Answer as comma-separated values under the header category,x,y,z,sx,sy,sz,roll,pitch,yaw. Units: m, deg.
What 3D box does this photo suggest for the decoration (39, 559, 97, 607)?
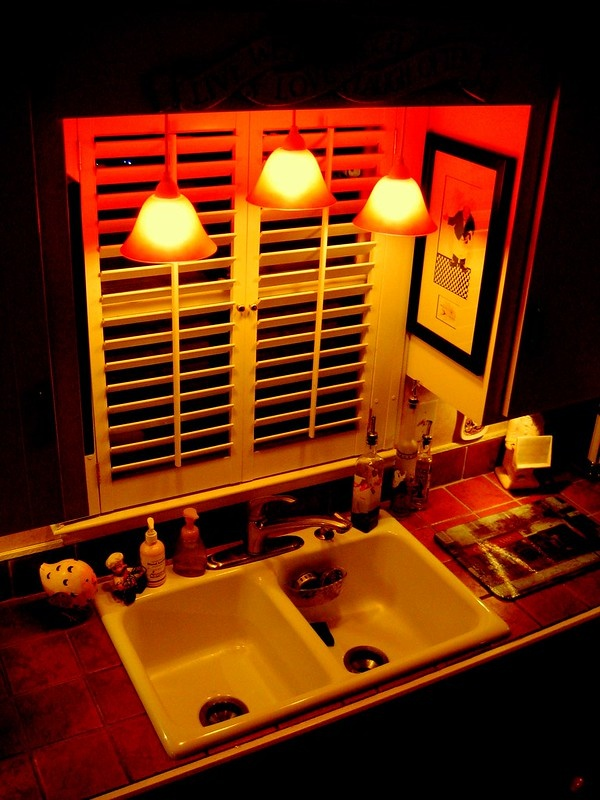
category,x,y,z,sx,sy,sz,roll,pitch,yaw
decoration,-0.482,0.381,1.303,0.103,0.095,0.084,12,14,-1

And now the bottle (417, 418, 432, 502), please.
category,x,y,z,sx,sy,sz,roll,pitch,yaw
bottle,0.361,0.181,1.766,0.032,0.254,0.119,6,15,18

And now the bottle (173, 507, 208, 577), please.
category,x,y,z,sx,sy,sz,roll,pitch,yaw
bottle,-0.261,0.337,1.439,0.074,0.181,0.076,4,25,-2

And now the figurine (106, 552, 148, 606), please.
category,x,y,z,sx,sy,sz,roll,pitch,yaw
figurine,-0.400,0.393,1.367,0.092,0.133,0.069,3,19,-22

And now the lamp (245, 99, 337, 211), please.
category,x,y,z,sx,sy,sz,roll,pitch,yaw
lamp,-0.013,-0.400,1.008,0.132,0.166,0.145,8,16,21

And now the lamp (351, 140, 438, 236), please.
category,x,y,z,sx,sy,sz,roll,pitch,yaw
lamp,0.160,-0.390,1.106,0.131,0.165,0.154,0,22,-4

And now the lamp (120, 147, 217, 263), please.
category,x,y,z,sx,sy,sz,roll,pitch,yaw
lamp,-0.173,-0.283,0.885,0.124,0.157,0.136,-3,20,-6

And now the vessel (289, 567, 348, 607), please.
category,x,y,z,sx,sy,sz,roll,pitch,yaw
vessel,0.038,0.449,1.502,0.083,0.053,0.106,-22,3,-42

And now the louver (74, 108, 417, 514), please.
category,x,y,z,sx,sy,sz,roll,pitch,yaw
louver,-0.129,-0.195,1.288,0.691,0.925,0.114,-11,30,-22

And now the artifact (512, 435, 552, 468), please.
category,x,y,z,sx,sy,sz,roll,pitch,yaw
artifact,0.707,0.157,1.874,0.076,0.117,0.154,-1,19,3

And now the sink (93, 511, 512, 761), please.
category,x,y,z,sx,sy,sz,roll,pitch,yaw
sink,-0.021,0.535,1.359,0.584,0.173,0.406,-17,41,-23
